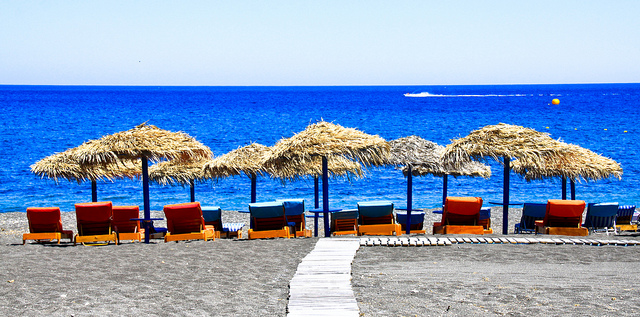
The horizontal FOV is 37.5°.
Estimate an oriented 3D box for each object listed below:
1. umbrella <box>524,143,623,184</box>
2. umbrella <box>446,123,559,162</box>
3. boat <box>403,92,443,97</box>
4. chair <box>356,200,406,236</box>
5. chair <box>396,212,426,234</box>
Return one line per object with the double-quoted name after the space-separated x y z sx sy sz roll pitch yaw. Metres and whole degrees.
16.033 0.291 59.586 4.892 1.642 4.110 0 9 -9 "umbrella"
10.706 -1.009 56.713 6.021 2.189 1.509 -1 5 7 "umbrella"
21.514 -13.503 196.505 7.785 0.844 13.355 -1 4 7 "boat"
3.568 3.655 57.427 2.518 1.855 3.674 -4 -4 9 "chair"
5.528 3.881 57.407 1.597 1.412 1.498 1 7 0 "chair"
